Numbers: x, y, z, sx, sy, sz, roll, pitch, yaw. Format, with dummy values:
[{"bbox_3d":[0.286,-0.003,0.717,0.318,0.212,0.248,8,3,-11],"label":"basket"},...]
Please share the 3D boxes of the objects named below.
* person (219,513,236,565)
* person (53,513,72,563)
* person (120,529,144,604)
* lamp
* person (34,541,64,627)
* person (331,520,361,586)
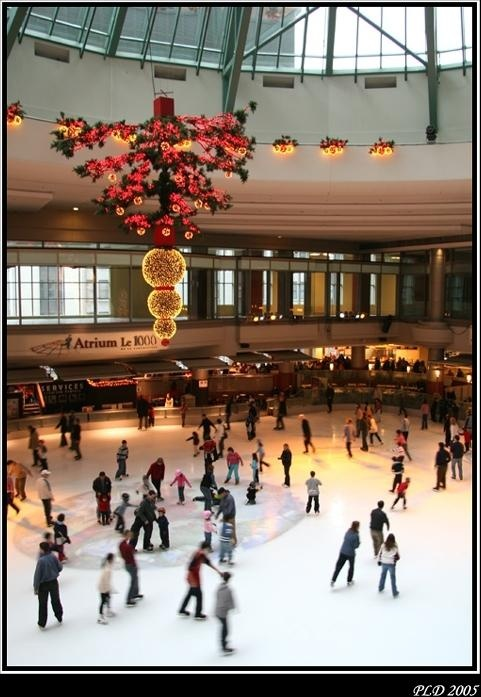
[{"bbox_3d":[-0.237,3.476,10.205,0.300,0.875,0.889,0,2,-1],"label":"person"},{"bbox_3d":[-3.046,3.224,9.581,0.218,0.778,0.335,-1,0,-44],"label":"person"},{"bbox_3d":[-1.633,3.272,8.431,0.293,1.222,0.896,0,2,-7],"label":"person"},{"bbox_3d":[-1.293,-0.878,9.606,0.706,1.689,0.705,-3,5,-15],"label":"lamp"},{"bbox_3d":[-2.550,3.157,7.492,0.334,1.366,0.664,0,2,-18],"label":"person"},{"bbox_3d":[1.712,3.337,9.339,0.412,1.351,1.349,1,2,9],"label":"person"}]
